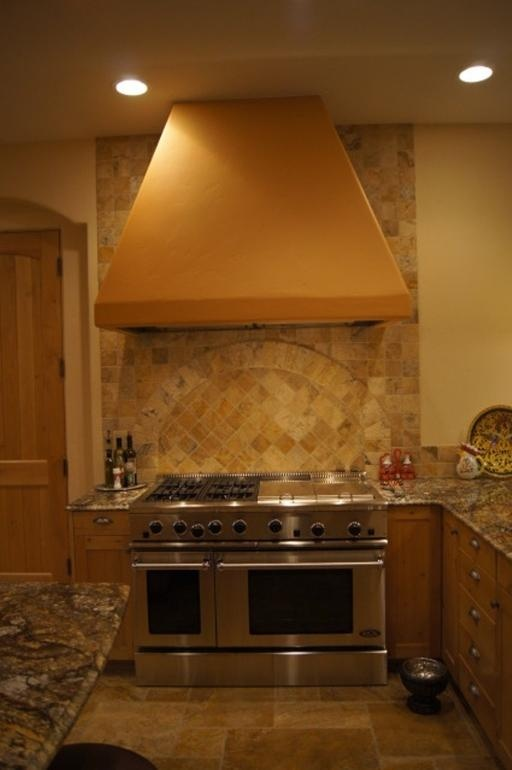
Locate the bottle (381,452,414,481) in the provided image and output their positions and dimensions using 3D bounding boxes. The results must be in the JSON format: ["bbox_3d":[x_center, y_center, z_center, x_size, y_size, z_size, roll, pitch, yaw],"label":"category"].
[{"bbox_3d":[0.727,0.417,3.371,0.152,0.145,0.216,1,5,33],"label":"bottle"}]

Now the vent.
[{"bbox_3d":[-0.007,-0.677,3.056,1.092,0.745,1.090,-1,5,2],"label":"vent"}]

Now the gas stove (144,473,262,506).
[{"bbox_3d":[-0.255,0.509,3.183,0.535,0.033,0.632,-2,5,2],"label":"gas stove"}]

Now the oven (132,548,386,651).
[{"bbox_3d":[0.037,0.945,3.050,0.814,0.398,0.544,-1,-3,2],"label":"oven"}]

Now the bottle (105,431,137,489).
[{"bbox_3d":[-0.718,0.390,3.410,0.165,0.270,0.229,-3,5,-11],"label":"bottle"}]
